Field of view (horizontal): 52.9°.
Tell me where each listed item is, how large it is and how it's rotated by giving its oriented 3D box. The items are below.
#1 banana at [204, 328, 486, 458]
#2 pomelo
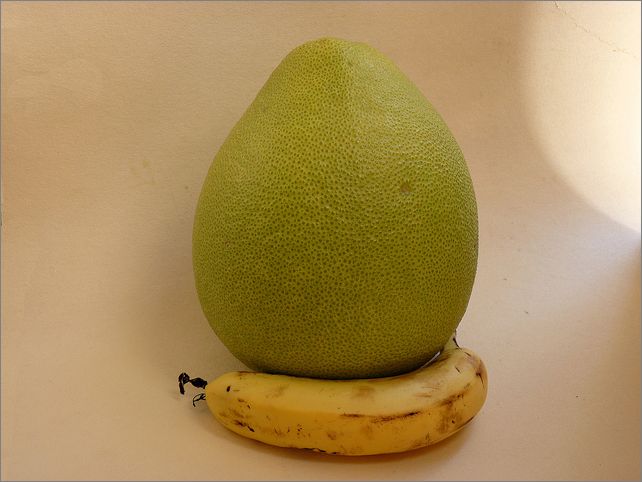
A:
[{"bbox_3d":[0.056,0.283,1.147,0.497,0.220,0.122,-10,-36,-15],"label":"banana"},{"bbox_3d":[0.026,-0.047,1.319,0.559,0.539,0.680,-5,-76,-18],"label":"pomelo"}]
